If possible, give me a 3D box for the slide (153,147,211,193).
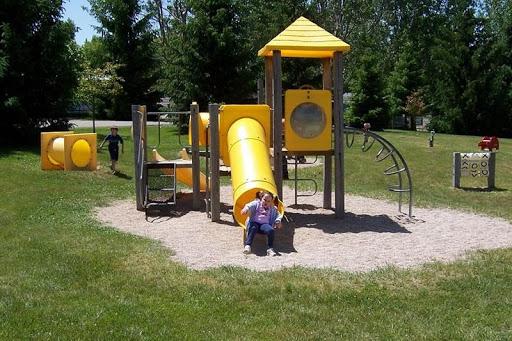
[{"bbox_3d":[-2.777,0.119,20.730,1.736,1.677,3.325,0,12,-12],"label":"slide"}]

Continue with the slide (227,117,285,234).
[{"bbox_3d":[-0.351,-0.576,18.069,1.562,1.707,4.293,-9,18,1],"label":"slide"}]

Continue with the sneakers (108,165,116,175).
[{"bbox_3d":[-5.598,-0.002,22.505,0.243,0.189,0.533,1,-6,-1],"label":"sneakers"}]

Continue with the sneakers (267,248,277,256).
[{"bbox_3d":[0.384,2.147,15.286,0.124,0.132,0.288,-1,2,-24],"label":"sneakers"}]

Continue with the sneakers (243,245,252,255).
[{"bbox_3d":[-0.212,2.079,15.408,0.166,0.198,0.335,8,13,27],"label":"sneakers"}]

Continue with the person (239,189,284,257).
[{"bbox_3d":[0.117,1.371,15.579,1.071,1.544,0.948,2,11,0],"label":"person"}]
